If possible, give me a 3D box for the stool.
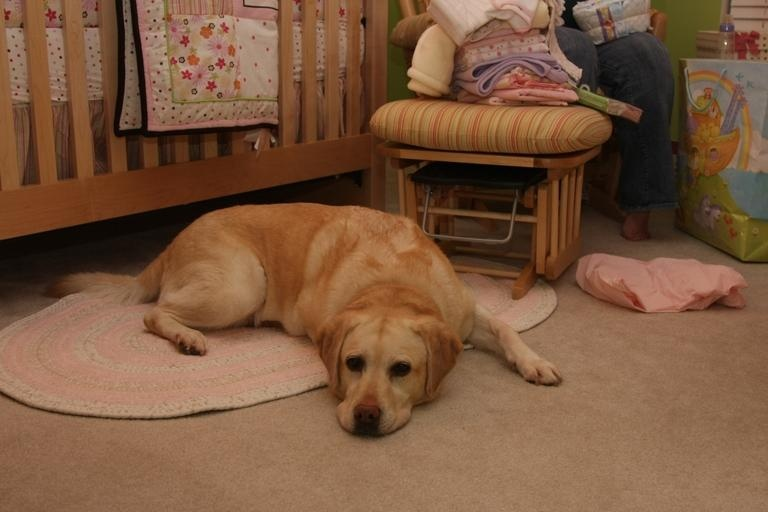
[{"bbox_3d":[0.481,-0.333,2.904,0.956,0.826,0.818,6,24,24],"label":"stool"}]
